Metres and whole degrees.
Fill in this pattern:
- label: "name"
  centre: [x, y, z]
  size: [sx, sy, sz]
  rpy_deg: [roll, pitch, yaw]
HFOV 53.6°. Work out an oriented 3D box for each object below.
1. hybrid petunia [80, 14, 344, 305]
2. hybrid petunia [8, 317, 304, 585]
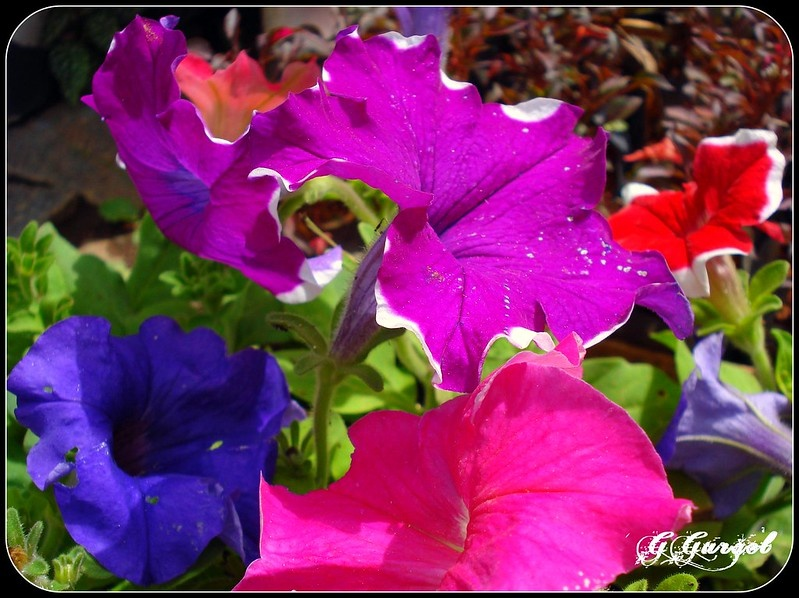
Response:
- label: "hybrid petunia"
  centre: [-0.136, -0.094, 0.556]
  size: [0.191, 0.182, 0.128]
  rpy_deg: [2, 25, -6]
- label: "hybrid petunia"
  centre: [-0.200, 0.143, 0.616]
  size: [0.191, 0.082, 0.215]
  rpy_deg: [31, 42, -27]
